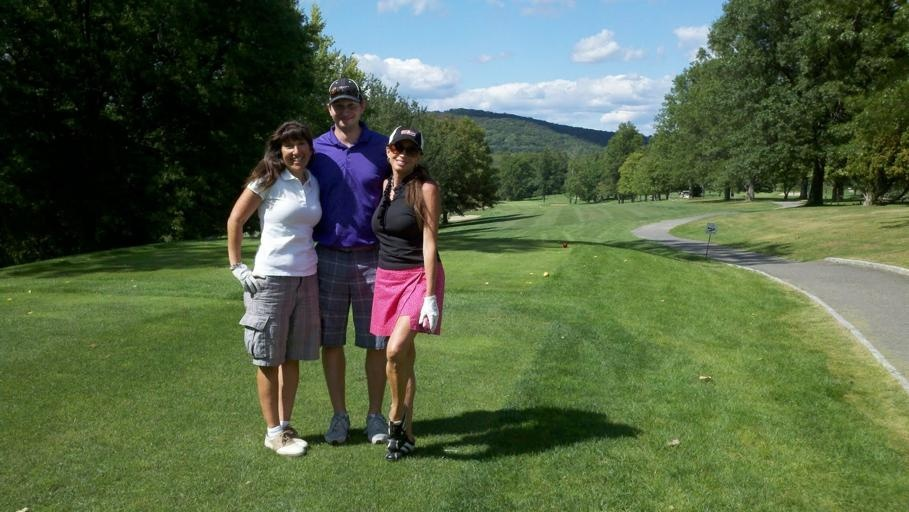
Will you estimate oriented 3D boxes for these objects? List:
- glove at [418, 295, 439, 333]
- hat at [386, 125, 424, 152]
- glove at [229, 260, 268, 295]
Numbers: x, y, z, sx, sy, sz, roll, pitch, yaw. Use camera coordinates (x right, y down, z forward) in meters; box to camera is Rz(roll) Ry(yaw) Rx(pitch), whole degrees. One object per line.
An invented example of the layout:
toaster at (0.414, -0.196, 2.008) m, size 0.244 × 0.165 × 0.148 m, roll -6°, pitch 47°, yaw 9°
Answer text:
glove at (-0.423, 0.995, 10.210) m, size 0.426 × 0.591 × 0.241 m, roll 12°, pitch -5°, yaw -36°
hat at (-0.896, -2.090, 10.516) m, size 0.605 × 0.434 × 0.432 m, roll -3°, pitch 10°, yaw -13°
glove at (-3.587, 0.351, 10.439) m, size 0.462 × 0.621 × 0.308 m, roll -40°, pitch -2°, yaw 27°
